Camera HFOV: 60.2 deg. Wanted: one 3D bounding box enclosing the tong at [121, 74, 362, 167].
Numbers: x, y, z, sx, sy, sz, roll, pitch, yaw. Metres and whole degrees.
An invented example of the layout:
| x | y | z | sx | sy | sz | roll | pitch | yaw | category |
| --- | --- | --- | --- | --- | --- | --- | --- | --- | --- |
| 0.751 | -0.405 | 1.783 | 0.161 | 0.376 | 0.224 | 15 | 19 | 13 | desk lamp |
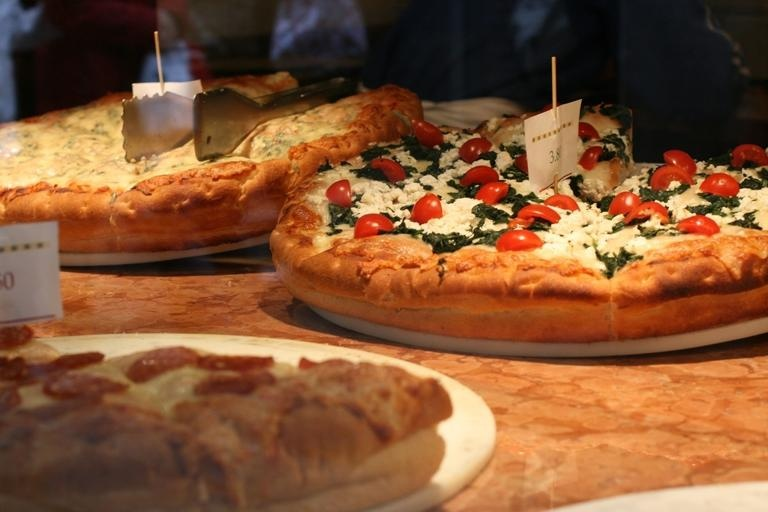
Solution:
| x | y | z | sx | sy | sz | roll | pitch | yaw | category |
| --- | --- | --- | --- | --- | --- | --- | --- | --- | --- |
| -0.639 | -0.636 | 3.002 | 0.926 | 0.234 | 0.359 | -13 | 31 | -25 | tong |
